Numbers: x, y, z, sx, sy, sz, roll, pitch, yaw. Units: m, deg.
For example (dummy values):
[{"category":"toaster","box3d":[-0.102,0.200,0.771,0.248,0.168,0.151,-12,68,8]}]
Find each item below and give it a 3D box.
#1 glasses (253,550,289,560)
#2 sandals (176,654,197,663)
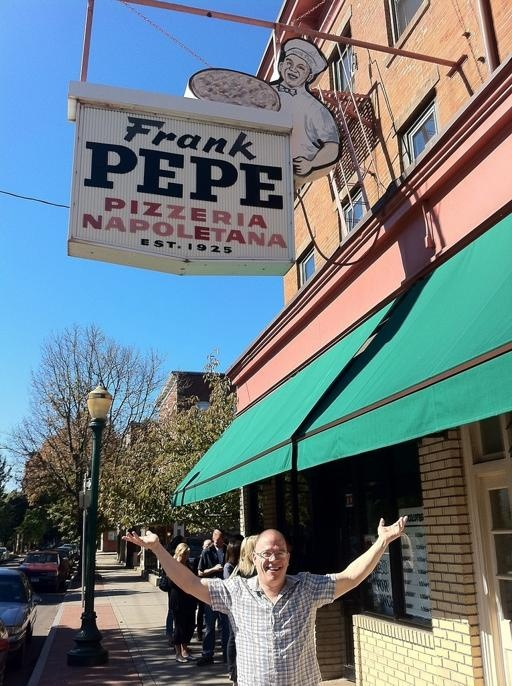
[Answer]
[{"category":"glasses","box3d":[0.064,0.877,2.484,0.137,0.036,0.108,-1,-18,1]},{"category":"sandals","box3d":[-1.029,4.730,9.051,0.306,0.087,0.120,-8,-15,34]}]
